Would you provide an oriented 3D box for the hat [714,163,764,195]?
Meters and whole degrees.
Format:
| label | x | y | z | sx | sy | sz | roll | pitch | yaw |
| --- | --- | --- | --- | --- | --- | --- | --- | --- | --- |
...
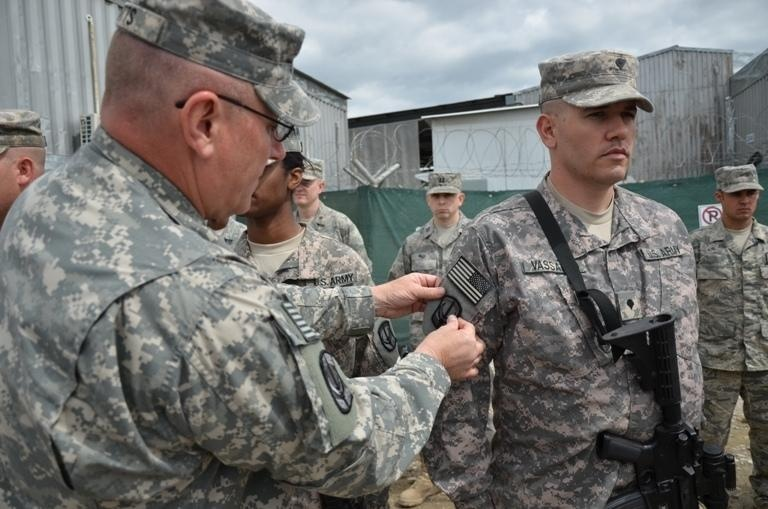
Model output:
| label | x | y | z | sx | sy | sz | roll | pitch | yaw |
| --- | --- | --- | --- | --- | --- | --- | --- | --- | --- |
| hat | 3.271 | -0.692 | 7.324 | 0.274 | 0.177 | 0.360 | -2 | 6 | 13 |
